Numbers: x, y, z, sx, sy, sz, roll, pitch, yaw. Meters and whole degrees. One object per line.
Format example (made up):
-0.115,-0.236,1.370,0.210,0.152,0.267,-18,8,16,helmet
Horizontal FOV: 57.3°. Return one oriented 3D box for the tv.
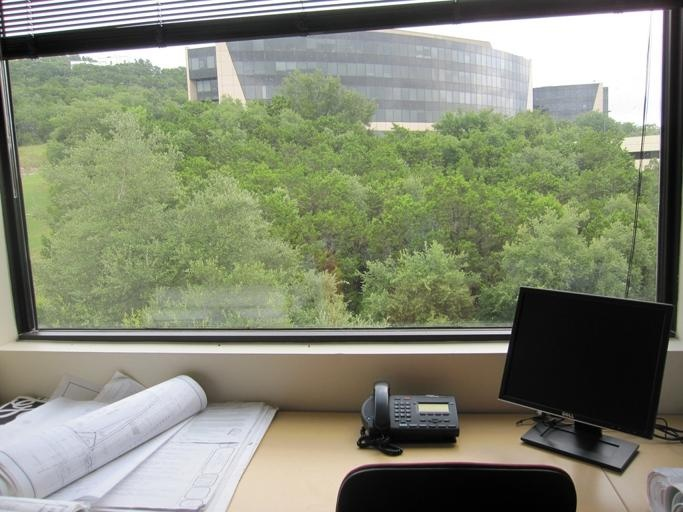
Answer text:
1.047,0.551,2.672,0.645,0.679,0.263,4,6,35,tv
